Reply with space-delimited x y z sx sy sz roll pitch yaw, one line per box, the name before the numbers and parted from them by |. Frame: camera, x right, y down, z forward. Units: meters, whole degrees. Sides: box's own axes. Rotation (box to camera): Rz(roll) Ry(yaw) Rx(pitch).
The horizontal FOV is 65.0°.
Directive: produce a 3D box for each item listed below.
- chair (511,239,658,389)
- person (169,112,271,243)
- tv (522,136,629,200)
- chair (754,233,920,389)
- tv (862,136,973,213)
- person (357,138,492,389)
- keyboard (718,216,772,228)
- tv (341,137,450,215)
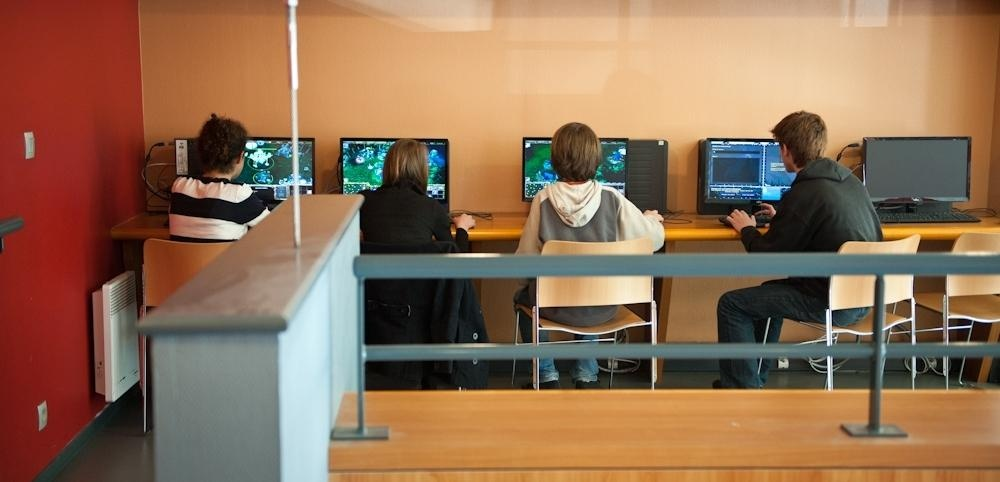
chair | 0.622 0.598 5.885 1.215 1.111 1.105 5 10 22
person | -2.071 -0.337 5.908 0.809 1.100 0.644 4 15 -7
tv | 0.586 -0.563 6.340 1.008 0.517 0.037 4 7 35
chair | 2.497 0.499 5.941 1.212 1.110 1.142 2 6 31
tv | 3.418 -0.557 6.514 1.097 0.597 0.236 -2 5 -16
person | -0.547 0.219 5.437 0.841 1.781 0.688 -3 10 -12
keyboard | 1.935 -0.156 6.153 0.303 0.035 0.131 -1 16 -4
tv | -0.865 -0.519 6.335 1.017 0.572 0.487 4 11 22
